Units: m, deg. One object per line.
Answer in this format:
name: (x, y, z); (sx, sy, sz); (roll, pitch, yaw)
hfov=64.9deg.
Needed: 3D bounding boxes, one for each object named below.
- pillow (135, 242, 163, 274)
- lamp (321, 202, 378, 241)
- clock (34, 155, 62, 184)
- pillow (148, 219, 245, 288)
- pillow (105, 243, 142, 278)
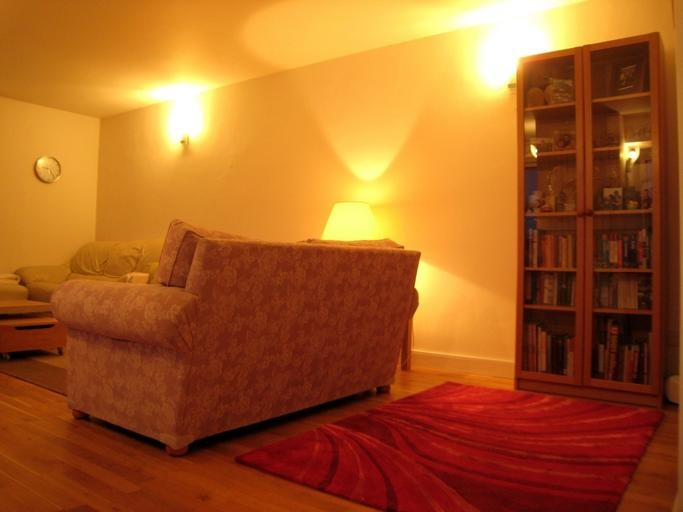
pillow: (-1.991, 0.029, 5.591); (0.267, 0.268, 0.126); (-2, -19, 40)
lamp: (0.076, -0.275, 4.524); (0.360, 0.260, 0.372); (0, 3, -1)
clock: (-3.745, -1.110, 6.924); (0.299, 0.315, 0.296); (6, 3, -41)
pillow: (-0.761, 0.019, 2.787); (0.344, 0.282, 0.350); (15, 1, -10)
pillow: (-2.484, 0.052, 6.332); (0.405, 0.428, 0.186); (0, -13, 33)
